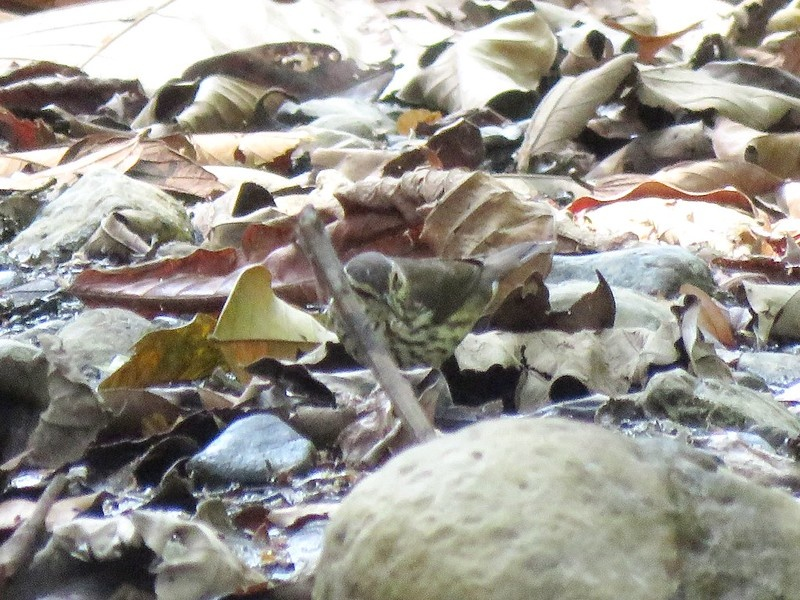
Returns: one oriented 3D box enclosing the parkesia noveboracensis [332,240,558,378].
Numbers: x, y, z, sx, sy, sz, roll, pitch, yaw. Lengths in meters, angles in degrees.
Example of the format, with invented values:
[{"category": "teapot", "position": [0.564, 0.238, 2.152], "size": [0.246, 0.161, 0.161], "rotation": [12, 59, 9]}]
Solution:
[{"category": "parkesia noveboracensis", "position": [0.083, -0.015, 3.312], "size": [0.384, 0.221, 0.162], "rotation": [-32, 61, -7]}]
